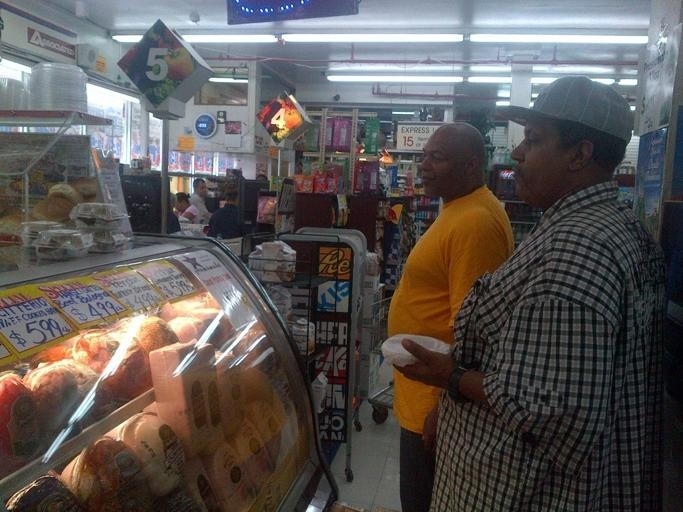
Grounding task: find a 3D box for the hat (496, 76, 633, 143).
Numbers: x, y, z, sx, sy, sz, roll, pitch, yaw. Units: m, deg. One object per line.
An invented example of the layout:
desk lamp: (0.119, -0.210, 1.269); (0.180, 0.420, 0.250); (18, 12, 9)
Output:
hat: (0.658, -0.397, 1.480); (0.278, 0.134, 0.201); (17, 4, 7)
